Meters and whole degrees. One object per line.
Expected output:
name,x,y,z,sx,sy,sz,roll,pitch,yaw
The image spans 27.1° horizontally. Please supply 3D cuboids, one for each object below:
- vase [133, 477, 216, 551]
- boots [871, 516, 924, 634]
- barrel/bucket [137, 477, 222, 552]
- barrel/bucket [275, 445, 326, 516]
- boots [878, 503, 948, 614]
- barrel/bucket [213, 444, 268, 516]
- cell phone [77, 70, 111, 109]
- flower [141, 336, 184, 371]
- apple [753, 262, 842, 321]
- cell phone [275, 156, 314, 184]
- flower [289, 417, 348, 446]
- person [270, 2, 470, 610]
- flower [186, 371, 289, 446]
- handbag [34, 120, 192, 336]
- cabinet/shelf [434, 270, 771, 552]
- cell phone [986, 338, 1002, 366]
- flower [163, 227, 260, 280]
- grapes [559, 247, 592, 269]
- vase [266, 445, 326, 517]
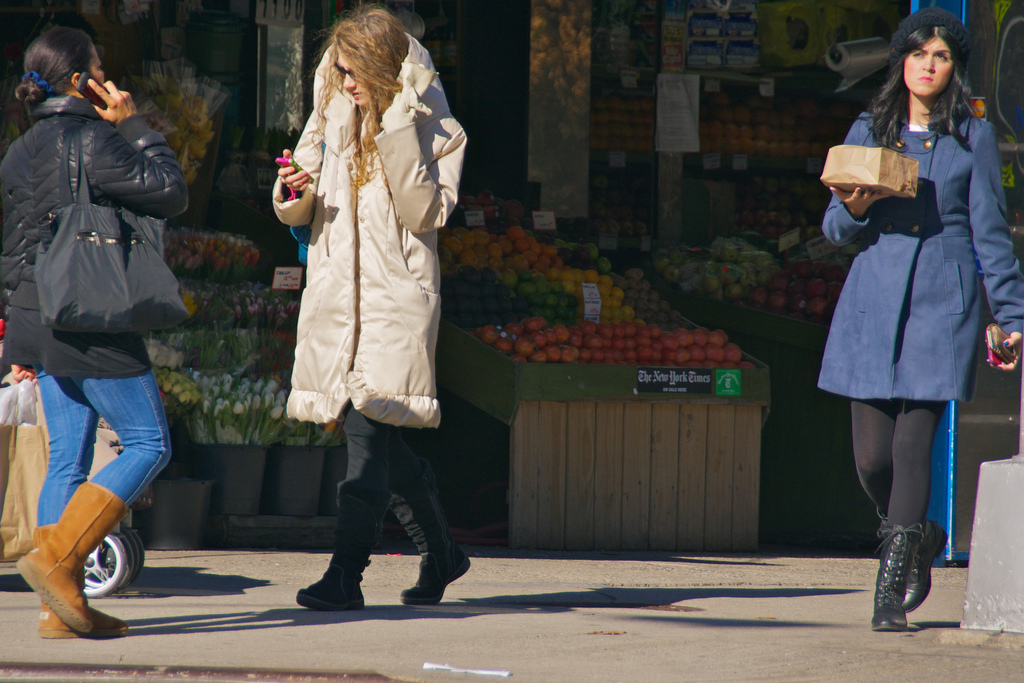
vase,-1.854,0.966,11.749,0.375,0.283,0.381,-4,-7,32
boots,1.783,1.119,9.959,0.175,0.572,0.245,6,-10,24
barrel/bucket,-1.834,0.966,11.751,0.373,0.278,0.379,0,-4,0
barrel/bucket,-1.210,0.807,12.063,0.337,0.342,0.343,3,1,0
boots,1.946,1.066,10.074,0.198,0.586,0.266,19,8,28
barrel/bucket,-1.528,0.797,11.960,0.335,0.286,0.342,3,2,0
cell phone,-1.926,-1.142,9.725,0.140,0.040,0.148,34,10,-36
flower,-1.957,0.085,11.917,0.200,0.128,0.205,3,1,-36
apple,1.861,-0.323,13.744,0.411,0.167,0.449,8,27,28
cell phone,-1.033,-0.836,9.979,0.072,0.097,0.335,-36,19,-3
flower,-1.104,0.548,11.941,0.316,0.202,0.343,2,1,-14
person,-0.673,-0.130,10.043,0.858,2.883,0.449,1,5,-2
flower,-1.553,0.395,11.971,0.447,0.331,0.433,1,4,18
handbag,-1.804,-0.501,9.551,0.650,0.899,0.244,0,5,-16
cabinet/shelf,0.652,0.441,12.391,1.498,0.945,1.503,1,0,-8
cell phone,2.261,0.067,10.008,0.069,0.118,0.189,2,6,7
flower,-1.805,-0.498,12.664,0.359,0.256,0.352,2,4,6
grapes,0.406,-0.524,13.637,0.189,0.112,0.091,14,-9,-28
vase,-1.241,0.807,12.067,0.363,0.277,0.338,4,-3,-35
